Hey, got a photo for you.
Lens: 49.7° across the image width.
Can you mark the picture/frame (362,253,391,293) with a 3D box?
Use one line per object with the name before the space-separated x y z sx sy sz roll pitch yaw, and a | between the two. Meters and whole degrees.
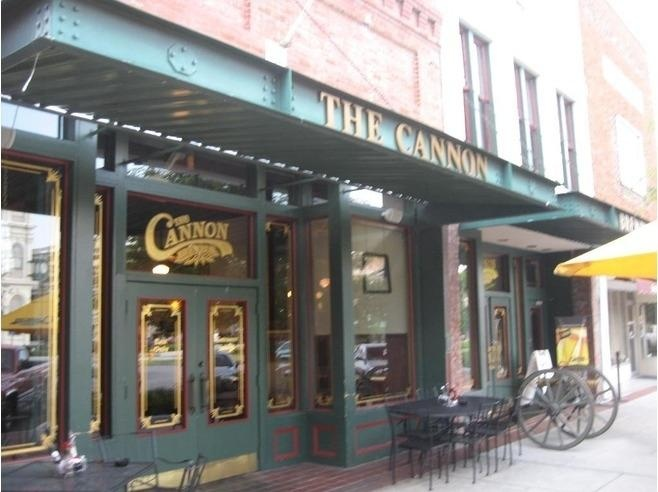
picture/frame | 0.719 0.414 11.061 0.048 0.512 0.608 -13 -10 35
